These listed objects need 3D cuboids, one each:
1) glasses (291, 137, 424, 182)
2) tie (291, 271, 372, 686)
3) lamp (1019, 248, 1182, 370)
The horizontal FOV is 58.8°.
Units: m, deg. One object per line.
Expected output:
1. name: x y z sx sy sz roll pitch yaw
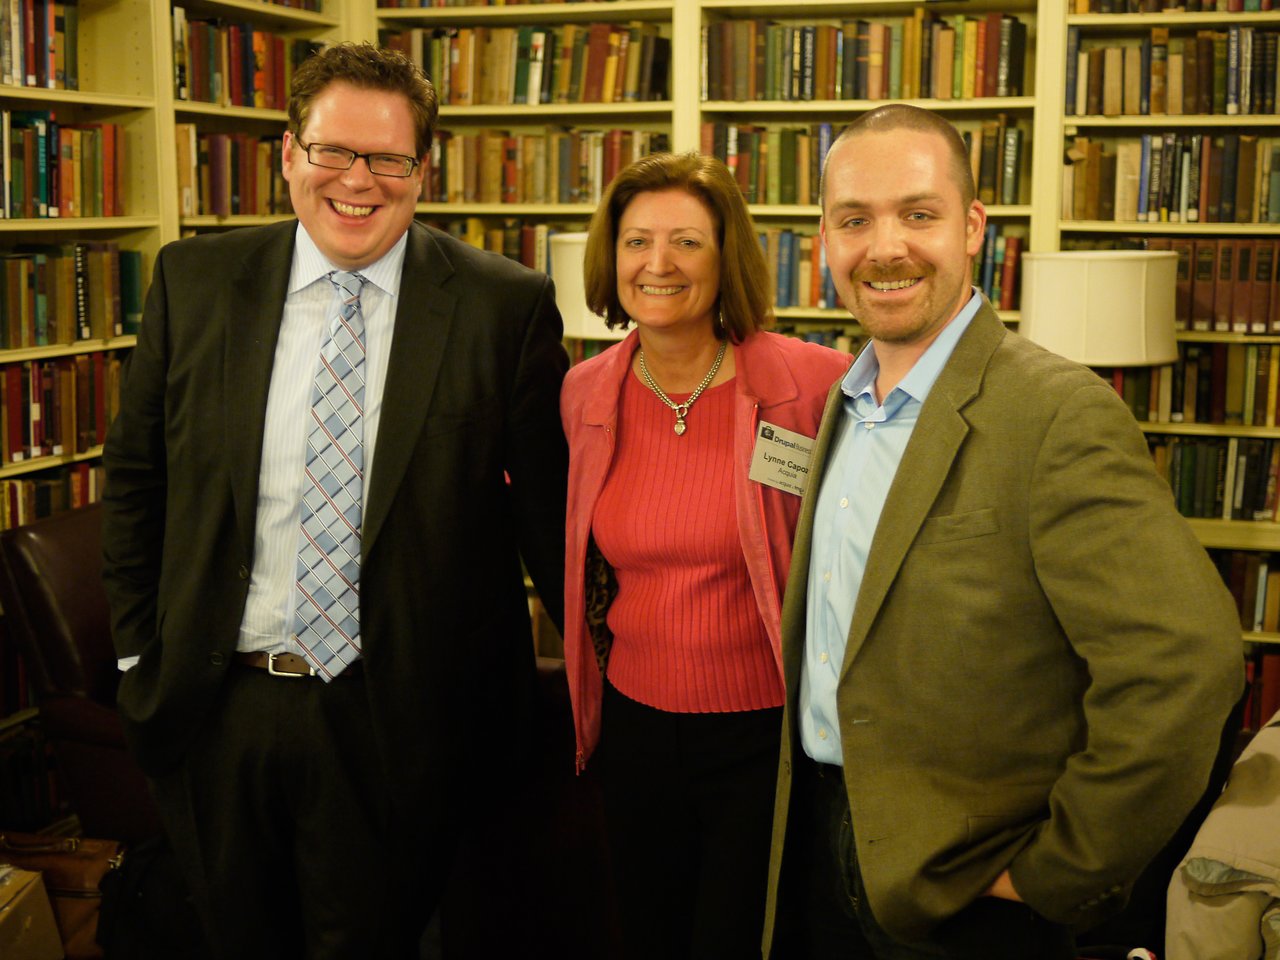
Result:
1. glasses: -0.586 -0.654 2.371 0.233 0.067 0.056 -1 9 -15
2. tie: -0.647 -0.013 2.374 0.148 0.811 0.174 -1 7 -16
3. lamp: 1.948 -0.738 4.690 0.543 0.468 0.600 6 20 32
